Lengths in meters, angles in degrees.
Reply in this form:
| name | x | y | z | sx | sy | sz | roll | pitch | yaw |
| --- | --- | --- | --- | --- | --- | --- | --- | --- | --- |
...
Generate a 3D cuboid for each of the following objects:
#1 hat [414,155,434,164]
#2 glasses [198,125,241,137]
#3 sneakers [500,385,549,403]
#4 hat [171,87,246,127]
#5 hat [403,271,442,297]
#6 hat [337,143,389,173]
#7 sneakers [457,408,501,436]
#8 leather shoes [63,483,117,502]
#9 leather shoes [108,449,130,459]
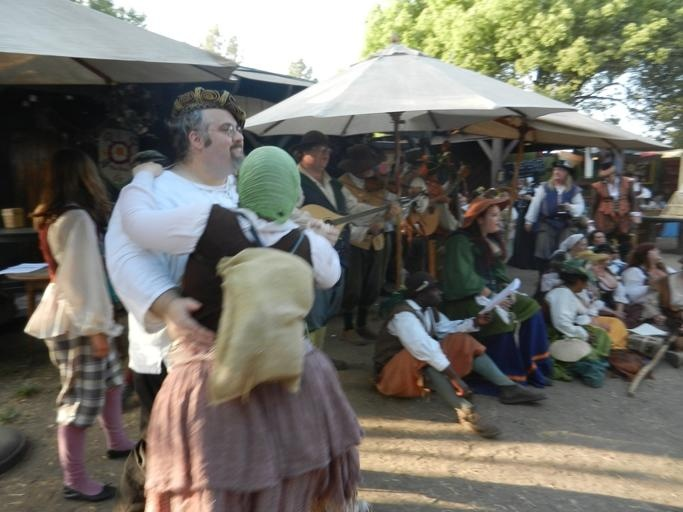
| name | x | y | z | sx | sy | sz | roll | pitch | yaw |
| --- | --- | --- | --- | --- | --- | --- | --- | --- | --- |
| hat | 1.001 | -1.156 | 7.008 | 0.227 | 0.032 | 0.157 | 0 | -2 | -7 |
| glasses | -0.605 | -0.636 | 2.962 | 0.144 | 0.032 | 0.083 | -5 | 5 | -11 |
| sneakers | 1.485 | 1.159 | 4.873 | 0.490 | 0.129 | 0.135 | -4 | -4 | 16 |
| hat | -0.682 | -0.769 | 2.983 | 0.341 | 0.074 | 0.255 | 1 | -7 | -20 |
| hat | 0.683 | 0.237 | 5.009 | 0.311 | 0.121 | 0.239 | 0 | 5 | 5 |
| hat | 0.197 | -1.089 | 6.617 | 0.527 | 0.145 | 0.487 | -8 | 2 | -8 |
| sneakers | 1.036 | 1.250 | 4.425 | 0.108 | 0.168 | 0.330 | -11 | 21 | -40 |
| leather shoes | -1.564 | 1.495 | 3.733 | 0.387 | 0.071 | 0.159 | 1 | -5 | -7 |
| leather shoes | -1.571 | 1.387 | 4.095 | 0.212 | 0.051 | 0.060 | 0 | 1 | -15 |
